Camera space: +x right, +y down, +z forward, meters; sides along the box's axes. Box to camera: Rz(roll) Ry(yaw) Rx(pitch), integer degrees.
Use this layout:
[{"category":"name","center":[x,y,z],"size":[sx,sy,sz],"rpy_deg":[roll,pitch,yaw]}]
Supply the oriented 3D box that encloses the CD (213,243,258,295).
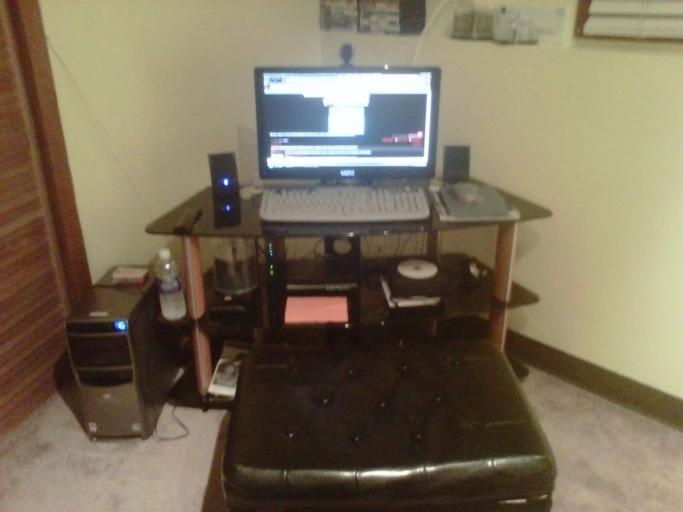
[{"category":"CD","center":[-0.432,0.044,2.509],"size":[0.144,0.242,0.168],"rpy_deg":[0,22,-7]}]

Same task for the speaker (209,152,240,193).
[{"category":"speaker","center":[-0.432,-0.312,2.232],"size":[0.092,0.126,0.115],"rpy_deg":[-7,29,-13]}]

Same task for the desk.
[{"category":"desk","center":[0.032,0.133,2.667],"size":[1.497,0.752,0.813],"rpy_deg":[-3,17,-8]}]

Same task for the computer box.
[{"category":"computer box","center":[-0.870,0.398,2.435],"size":[0.307,0.539,0.378],"rpy_deg":[0,28,-2]}]

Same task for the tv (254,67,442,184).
[{"category":"tv","center":[0.024,-0.517,2.372],"size":[0.706,0.415,0.103],"rpy_deg":[-1,28,-3]}]

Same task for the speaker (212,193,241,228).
[{"category":"speaker","center":[-0.457,-0.170,2.273],"size":[0.161,0.134,0.171],"rpy_deg":[0,4,-10]}]

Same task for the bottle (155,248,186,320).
[{"category":"bottle","center":[-0.680,0.112,2.421],"size":[0.097,0.295,0.092],"rpy_deg":[-2,23,1]}]

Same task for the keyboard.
[{"category":"keyboard","center":[0.009,-0.200,2.294],"size":[0.617,0.066,0.295],"rpy_deg":[-1,28,-3]}]
